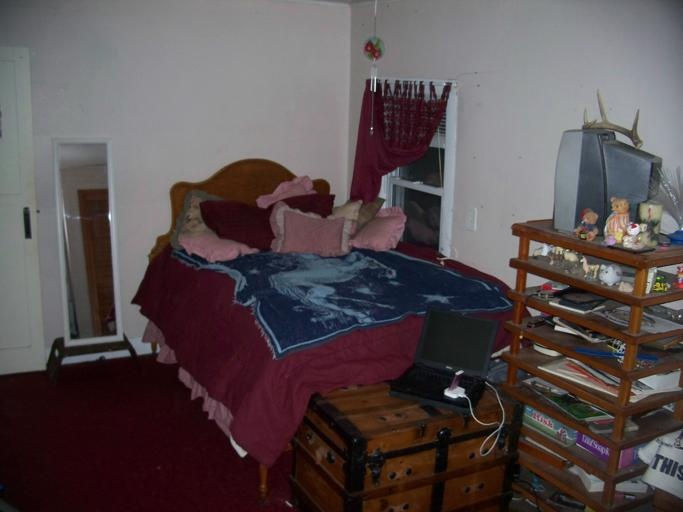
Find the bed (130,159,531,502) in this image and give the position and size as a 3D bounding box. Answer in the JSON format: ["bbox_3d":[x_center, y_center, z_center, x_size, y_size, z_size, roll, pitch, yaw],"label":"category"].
[{"bbox_3d":[-0.399,0.318,3.737,1.888,1.513,2.448,-12,23,-31],"label":"bed"}]

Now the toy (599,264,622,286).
[{"bbox_3d":[1.232,0.083,2.436,0.122,0.087,0.103,-8,12,-35],"label":"toy"}]

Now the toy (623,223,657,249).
[{"bbox_3d":[1.337,-0.095,2.358,0.155,0.105,0.068,-4,10,-17],"label":"toy"}]

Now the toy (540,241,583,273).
[{"bbox_3d":[1.100,0.002,2.667,0.114,0.049,0.159,-10,20,-19],"label":"toy"}]

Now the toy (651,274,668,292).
[{"bbox_3d":[1.404,0.121,2.334,0.064,0.061,0.062,-14,17,-42],"label":"toy"}]

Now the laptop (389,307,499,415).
[{"bbox_3d":[0.555,0.520,2.840,0.462,0.426,0.498,11,8,25],"label":"laptop"}]

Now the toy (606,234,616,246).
[{"bbox_3d":[1.223,-0.074,2.399,0.043,0.042,0.038,9,14,37],"label":"toy"}]

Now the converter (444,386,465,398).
[{"bbox_3d":[0.572,0.679,2.639,0.078,0.024,0.056,7,18,19],"label":"converter"}]

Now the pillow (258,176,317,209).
[{"bbox_3d":[-0.499,-0.578,4.636,0.364,0.109,0.303,-20,47,-7],"label":"pillow"}]

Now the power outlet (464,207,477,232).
[{"bbox_3d":[0.918,-0.269,3.765,0.020,0.187,0.135,-8,19,-28],"label":"power outlet"}]

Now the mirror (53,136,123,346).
[{"bbox_3d":[-1.969,-0.113,4.070,0.427,1.579,0.182,-5,10,-23],"label":"mirror"}]
